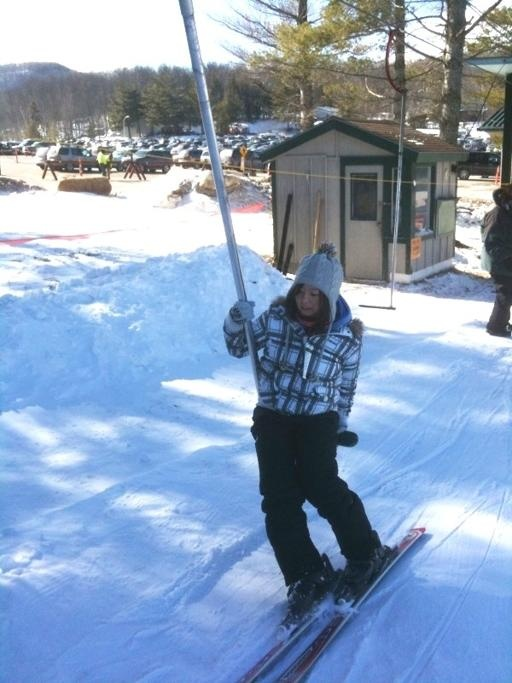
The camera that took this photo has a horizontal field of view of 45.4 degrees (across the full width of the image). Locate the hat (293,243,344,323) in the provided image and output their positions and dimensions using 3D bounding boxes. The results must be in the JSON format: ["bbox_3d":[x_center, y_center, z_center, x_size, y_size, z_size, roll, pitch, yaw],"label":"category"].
[{"bbox_3d":[0.281,-0.247,2.545,0.227,0.276,0.192,17,17,13],"label":"hat"}]

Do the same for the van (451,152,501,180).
[{"bbox_3d":[11.033,-8.667,30.359,1.881,1.330,1.157,7,16,23],"label":"van"}]

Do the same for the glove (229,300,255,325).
[{"bbox_3d":[-0.058,-0.123,2.574,0.113,0.100,0.082,-22,32,-24],"label":"glove"}]
